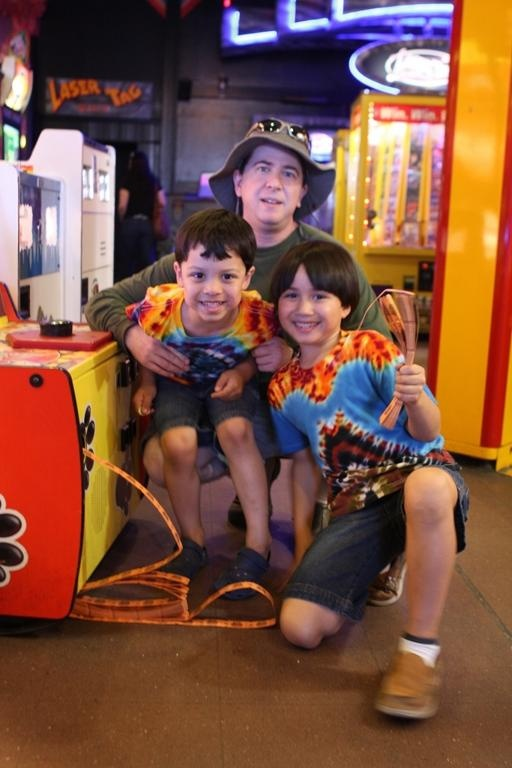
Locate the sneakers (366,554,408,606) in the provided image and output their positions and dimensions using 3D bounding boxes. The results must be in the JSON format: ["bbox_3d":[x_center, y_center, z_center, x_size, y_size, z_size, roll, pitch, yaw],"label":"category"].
[{"bbox_3d":[0.303,0.476,1.524,0.075,0.086,0.208,13,0,15],"label":"sneakers"}]

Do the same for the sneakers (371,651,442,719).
[{"bbox_3d":[0.260,0.489,1.056,0.098,0.075,0.180,-1,8,16],"label":"sneakers"}]

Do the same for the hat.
[{"bbox_3d":[0.067,-0.661,1.756,0.282,0.163,0.335,9,5,11],"label":"hat"}]

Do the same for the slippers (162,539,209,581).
[{"bbox_3d":[-0.163,0.416,1.461,0.047,0.057,0.143,4,-1,7],"label":"slippers"}]
